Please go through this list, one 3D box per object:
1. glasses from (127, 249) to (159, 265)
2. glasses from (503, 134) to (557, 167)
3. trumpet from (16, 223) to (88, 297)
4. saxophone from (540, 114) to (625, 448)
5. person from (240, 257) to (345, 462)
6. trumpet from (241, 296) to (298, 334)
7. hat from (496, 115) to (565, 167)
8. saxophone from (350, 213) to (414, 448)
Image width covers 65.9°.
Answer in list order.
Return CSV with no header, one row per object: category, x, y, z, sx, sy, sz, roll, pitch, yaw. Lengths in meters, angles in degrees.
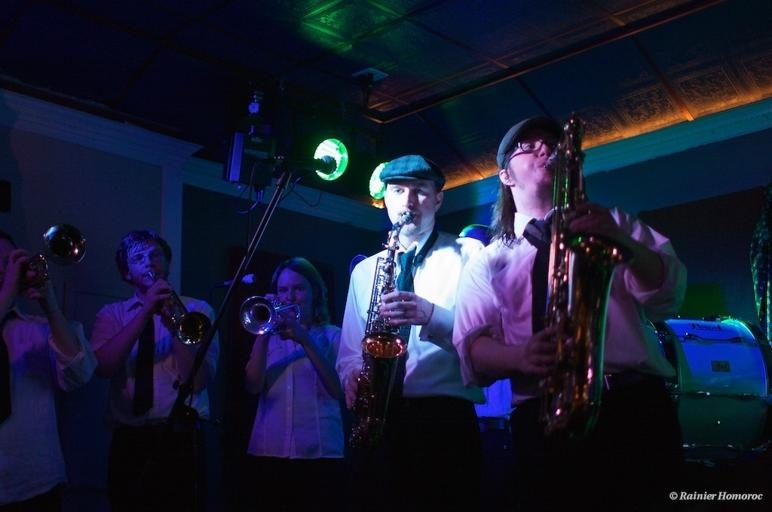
glasses,-1.839,-0.004,4.496,0.158,0.124,0.059,-3,-12,-6
glasses,0.760,-0.523,3.121,0.317,0.141,0.198,-2,-5,30
trumpet,-2.168,0.000,3.888,0.336,0.462,0.261,3,10,-8
saxophone,0.828,0.072,2.622,0.211,1.409,0.370,10,-15,-36
person,-0.681,0.799,4.939,0.903,1.563,0.822,6,0,-21
trumpet,-0.900,0.450,4.617,0.434,0.297,0.237,4,-12,-14
hat,0.741,-0.642,3.272,0.342,0.277,0.203,2,5,-19
saxophone,-0.002,0.491,3.405,0.259,1.353,0.344,13,20,26
